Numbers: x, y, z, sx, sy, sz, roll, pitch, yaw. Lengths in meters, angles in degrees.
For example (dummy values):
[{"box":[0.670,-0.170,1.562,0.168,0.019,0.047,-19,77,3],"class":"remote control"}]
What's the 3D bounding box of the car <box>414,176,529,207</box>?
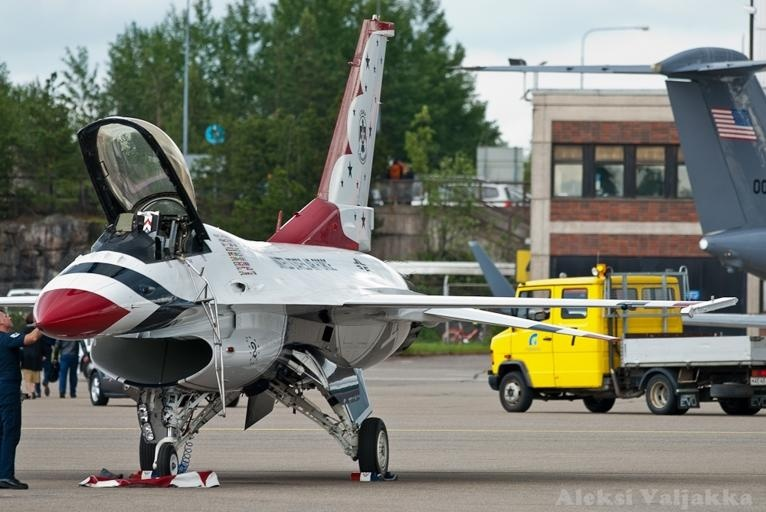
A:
[{"box":[2.968,-2.298,67.232,3.281,1.088,1.524,-2,5,10],"class":"car"}]
